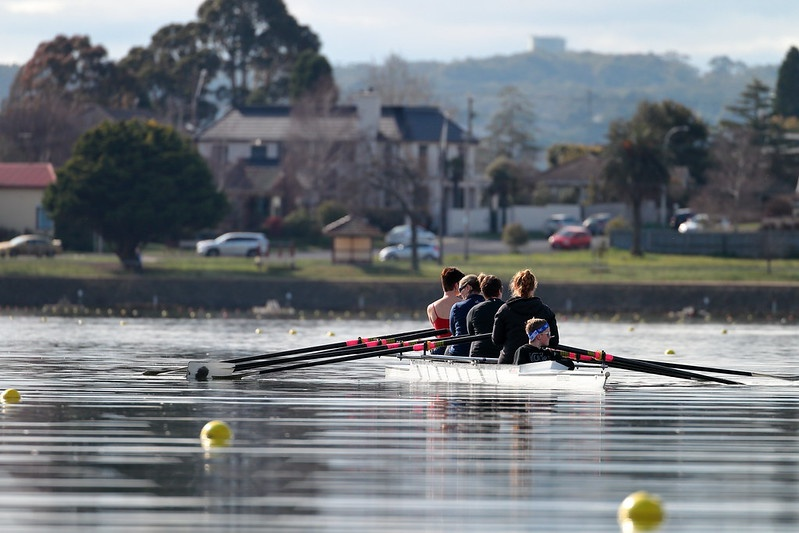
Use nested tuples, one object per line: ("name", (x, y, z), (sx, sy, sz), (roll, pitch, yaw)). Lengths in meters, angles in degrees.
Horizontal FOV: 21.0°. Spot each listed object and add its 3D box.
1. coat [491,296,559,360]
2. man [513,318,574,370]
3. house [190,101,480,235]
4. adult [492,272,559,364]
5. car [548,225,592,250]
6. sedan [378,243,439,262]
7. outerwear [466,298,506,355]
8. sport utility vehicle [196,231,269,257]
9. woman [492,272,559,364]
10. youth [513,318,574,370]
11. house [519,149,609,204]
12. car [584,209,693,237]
("coat", (3.077, 1.550, 54.833), (1.990, 2.065, 1.549), (2, 10, 3))
("man", (3.722, 1.866, 54.714), (1.334, 1.194, 1.004), (-1, 10, 5))
("house", (-2.223, -3.511, 74.289), (8.127, 3.343, 4.445), (-1, 5, 3))
("adult", (3.285, 1.953, 54.753), (1.633, 3.710, 1.113), (-3, 21, -11))
("car", (5.837, -0.915, 72.732), (1.426, 0.846, 0.931), (-2, 5, 2))
("sedan", (0.401, -0.430, 74.134), (1.732, 0.519, 0.804), (2, -2, 8))
("outerwear", (2.271, 1.496, 54.478), (1.367, 1.586, 0.915), (1, 15, 0))
("sport utility vehicle", (-5.736, -0.740, 75.085), (2.271, 0.733, 0.984), (2, -1, -12))
("woman", (3.150, 1.299, 54.204), (1.538, 2.377, 0.686), (-2, 6, 1))
("youth", (3.668, 1.860, 54.728), (1.334, 1.194, 1.004), (-1, 10, 5))
("house", (5.648, -2.979, 70.936), (2.193, 1.992, 1.309), (-2, 5, 5))
("car", (8.110, -1.482, 73.305), (4.934, 0.825, 1.155), (-5, 6, -32))
